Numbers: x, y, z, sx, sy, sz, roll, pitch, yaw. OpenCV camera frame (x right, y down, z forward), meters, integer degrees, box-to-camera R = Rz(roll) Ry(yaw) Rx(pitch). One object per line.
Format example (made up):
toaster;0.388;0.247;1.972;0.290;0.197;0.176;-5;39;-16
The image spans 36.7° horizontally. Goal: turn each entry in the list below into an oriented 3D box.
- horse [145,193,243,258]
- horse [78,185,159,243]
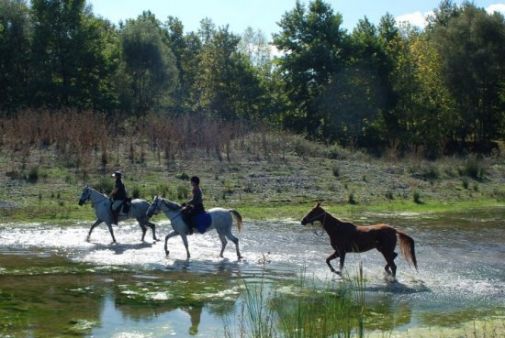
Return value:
horse;-4.373;4.564;58.614;7.152;5.123;1.968;1;8;-6
horse;-10.666;3.592;60.490;6.312;4.503;1.714;2;0;-10
